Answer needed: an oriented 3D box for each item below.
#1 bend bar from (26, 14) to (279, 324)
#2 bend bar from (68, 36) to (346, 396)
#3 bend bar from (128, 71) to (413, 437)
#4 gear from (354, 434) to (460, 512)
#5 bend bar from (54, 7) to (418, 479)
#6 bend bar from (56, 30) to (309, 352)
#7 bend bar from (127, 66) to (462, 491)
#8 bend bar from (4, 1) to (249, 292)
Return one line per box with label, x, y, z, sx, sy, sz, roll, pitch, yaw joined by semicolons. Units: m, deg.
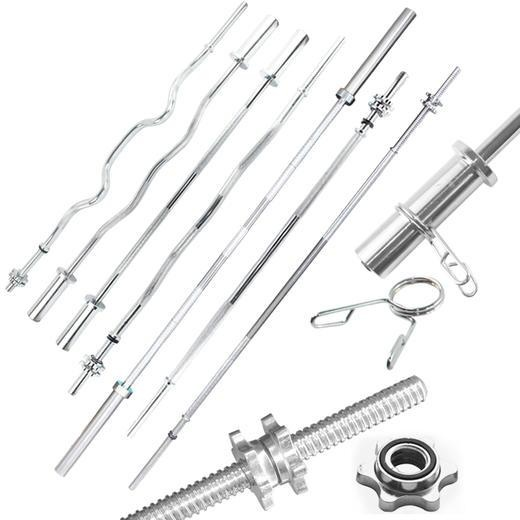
bend bar;-0.465;-0.241;3.608;2.356;0.210;0.175;-52;19;-8
bend bar;-0.273;-0.128;3.562;2.656;0.275;0.267;-51;0;-9
bend bar;0.147;0.034;3.515;2.725;0.183;0.183;-51;1;-9
gear;0.714;1.149;3.428;0.424;0.277;0.213;-19;8;2
bend bar;0.034;0.159;3.512;3.437;0.553;0.261;-48;27;-3
bend bar;-0.356;-0.204;3.594;2.431;0.195;0.189;-54;13;-12
bend bar;0.310;0.282;3.471;3.095;0.280;0.240;-49;-25;-8
bend bar;-0.546;-0.310;3.609;2.309;0.198;0.184;-49;6;-8
